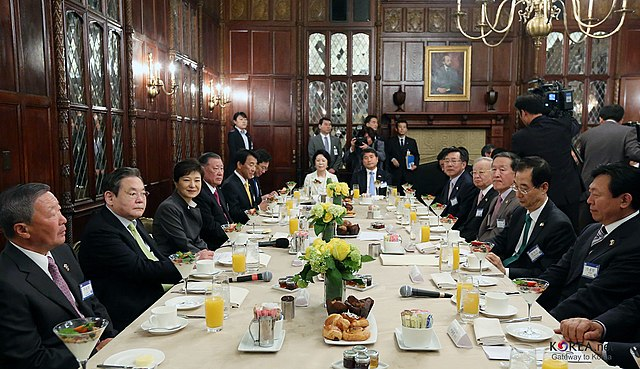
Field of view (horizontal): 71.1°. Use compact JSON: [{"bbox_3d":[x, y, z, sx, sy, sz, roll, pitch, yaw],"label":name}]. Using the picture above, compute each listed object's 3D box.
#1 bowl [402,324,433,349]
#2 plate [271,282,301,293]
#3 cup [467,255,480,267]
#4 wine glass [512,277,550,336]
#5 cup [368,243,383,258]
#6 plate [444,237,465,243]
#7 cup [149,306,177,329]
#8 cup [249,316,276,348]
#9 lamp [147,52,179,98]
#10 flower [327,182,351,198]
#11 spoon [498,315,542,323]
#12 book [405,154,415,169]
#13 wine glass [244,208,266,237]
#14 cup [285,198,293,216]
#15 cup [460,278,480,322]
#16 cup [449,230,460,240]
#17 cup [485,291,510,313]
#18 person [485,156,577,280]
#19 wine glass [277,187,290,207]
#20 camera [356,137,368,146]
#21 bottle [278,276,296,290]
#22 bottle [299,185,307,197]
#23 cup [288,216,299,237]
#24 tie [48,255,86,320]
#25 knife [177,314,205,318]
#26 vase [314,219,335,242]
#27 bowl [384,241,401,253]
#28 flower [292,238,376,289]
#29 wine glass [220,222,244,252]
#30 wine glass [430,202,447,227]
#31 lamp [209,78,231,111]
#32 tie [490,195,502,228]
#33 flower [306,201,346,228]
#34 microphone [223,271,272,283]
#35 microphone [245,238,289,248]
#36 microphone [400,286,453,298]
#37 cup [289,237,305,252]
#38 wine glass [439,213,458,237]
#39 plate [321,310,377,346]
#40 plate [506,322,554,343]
[{"bbox_3d":[0.645,0.997,2.936,0.146,0.090,0.157,-1,-7,0],"label":"bowl"},{"bbox_3d":[-0.259,0.799,3.478,0.139,0.018,0.138,3,5,12],"label":"plate"},{"bbox_3d":[1.313,0.653,3.867,0.107,0.096,0.105,0,-2,0],"label":"cup"},{"bbox_3d":[1.456,0.833,3.099,0.309,0.355,0.317,0,0,-2],"label":"wine glass"},{"bbox_3d":[0.503,0.606,4.141,0.124,0.125,0.132,0,-2,0],"label":"cup"},{"bbox_3d":[1.365,0.558,4.440,0.155,0.026,0.153,0,0,1],"label":"plate"},{"bbox_3d":[-1.082,0.907,3.112,0.128,0.111,0.169,7,7,33],"label":"cup"},{"bbox_3d":[-0.393,0.974,2.955,0.178,0.165,0.088,2,-6,-10],"label":"cup"},{"bbox_3d":[-2.626,-1.731,7.237,0.491,0.787,0.581,-1,11,4],"label":"lamp"},{"bbox_3d":[0.231,0.066,5.417,0.195,0.130,0.195,0,-1,17],"label":"flower"},{"bbox_3d":[1.408,0.950,3.159,0.307,0.032,0.031,-6,-14,4],"label":"spoon"},{"bbox_3d":[1.836,-0.452,9.067,0.160,0.284,0.164,-1,12,10],"label":"book"},{"bbox_3d":[-0.790,0.441,5.324,0.268,0.320,0.283,1,-3,-8],"label":"wine glass"},{"bbox_3d":[-0.386,0.280,5.583,0.121,0.204,0.121,0,1,0],"label":"cup"},{"bbox_3d":[1.058,0.862,3.222,0.165,0.250,0.167,6,-8,1],"label":"cup"},{"bbox_3d":[1.348,0.512,4.532,0.097,0.066,0.096,-1,-3,0],"label":"cup"},{"bbox_3d":[1.267,0.836,3.216,0.144,0.103,0.144,0,-4,0],"label":"cup"},{"bbox_3d":[1.978,0.398,4.428,0.993,1.276,0.886,-2,17,14],"label":"person"},{"bbox_3d":[-0.560,0.188,6.804,0.239,0.258,0.229,-1,3,25],"label":"wine glass"},{"bbox_3d":[0.833,-0.854,8.907,0.237,0.084,0.234,3,-1,5],"label":"camera"},{"bbox_3d":[-0.250,0.772,3.554,0.120,0.058,0.163,1,2,0],"label":"bottle"},{"bbox_3d":[-0.282,0.104,7.531,0.185,0.199,0.177,0,-6,3],"label":"bottle"},{"bbox_3d":[-0.281,0.445,4.731,0.147,0.234,0.149,2,-2,0],"label":"cup"},{"bbox_3d":[-1.904,0.783,3.346,0.069,0.497,0.069,-28,19,-13],"label":"tie"},{"bbox_3d":[-0.927,0.945,3.212,0.215,0.022,0.022,0,9,-2],"label":"knife"},{"bbox_3d":[0.053,0.415,4.006,0.226,0.228,0.186,0,-4,-3],"label":"vase"},{"bbox_3d":[0.674,0.592,4.211,0.121,0.071,0.119,1,1,0],"label":"bowl"},{"bbox_3d":[0.083,0.527,3.183,0.408,0.267,0.415,0,5,35],"label":"flower"},{"bbox_3d":[-0.854,0.494,4.281,0.268,0.217,0.277,1,-3,1],"label":"wine glass"},{"bbox_3d":[1.382,0.339,5.230,0.240,0.314,0.237,-4,-4,1],"label":"wine glass"},{"bbox_3d":[-2.236,-2.012,9.943,0.386,0.714,0.889,-3,11,-2],"label":"lamp"},{"bbox_3d":[1.969,0.307,5.027,0.069,0.275,0.207,14,-11,25],"label":"tie"},{"bbox_3d":[0.058,0.283,4.112,0.267,0.153,0.263,0,4,0],"label":"flower"},{"bbox_3d":[-0.588,0.754,3.646,0.272,0.070,0.073,-4,-36,-10],"label":"microphone"},{"bbox_3d":[-0.548,0.579,4.453,0.507,0.114,0.119,-3,13,17],"label":"microphone"},{"bbox_3d":[0.821,0.830,3.453,0.304,0.078,0.072,4,2,5],"label":"microphone"},{"bbox_3d":[-0.209,0.576,4.268,0.177,0.167,0.103,1,4,-3],"label":"cup"},{"bbox_3d":[1.328,0.425,4.617,0.180,0.206,0.183,-1,0,-1],"label":"wine glass"},{"bbox_3d":[0.203,0.966,3.002,0.239,0.056,0.231,1,18,-4],"label":"plate"},{"bbox_3d":[1.420,0.993,3.041,0.293,0.079,0.179,-6,11,-18],"label":"plate"}]
